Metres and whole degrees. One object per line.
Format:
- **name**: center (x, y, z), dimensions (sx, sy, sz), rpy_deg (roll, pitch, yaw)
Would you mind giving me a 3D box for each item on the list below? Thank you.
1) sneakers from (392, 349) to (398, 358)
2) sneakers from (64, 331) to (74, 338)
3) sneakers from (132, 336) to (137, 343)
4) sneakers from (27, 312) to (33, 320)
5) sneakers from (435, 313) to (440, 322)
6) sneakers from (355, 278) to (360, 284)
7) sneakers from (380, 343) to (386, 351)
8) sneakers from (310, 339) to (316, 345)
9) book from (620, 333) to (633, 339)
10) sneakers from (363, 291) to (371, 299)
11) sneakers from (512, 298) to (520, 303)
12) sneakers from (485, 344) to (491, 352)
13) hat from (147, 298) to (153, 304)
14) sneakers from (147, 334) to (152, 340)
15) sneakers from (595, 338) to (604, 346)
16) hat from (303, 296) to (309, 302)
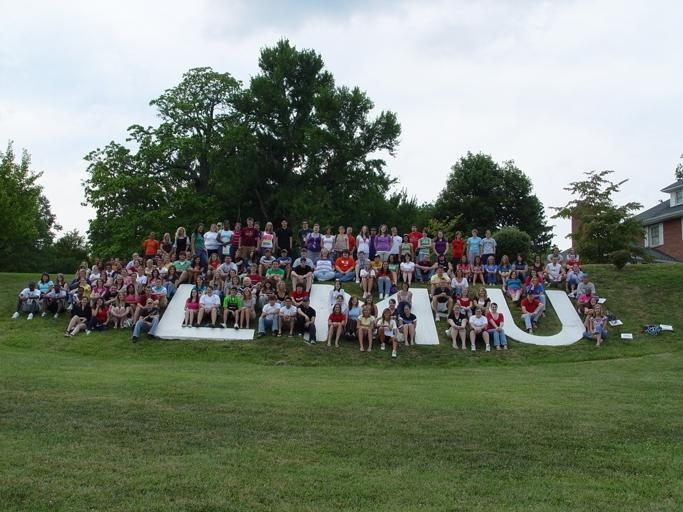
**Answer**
- **sneakers**: center (1.672, 3.037, 16.529), dimensions (0.146, 0.191, 0.431), rpy_deg (-2, -13, 6)
- **sneakers**: center (-8.790, 2.541, 17.251), dimensions (0.247, 0.173, 0.221), rpy_deg (6, 10, 30)
- **sneakers**: center (-6.566, 2.652, 16.979), dimensions (0.172, 0.163, 0.223), rpy_deg (-3, 10, -26)
- **sneakers**: center (-10.995, 2.145, 18.840), dimensions (0.226, 0.136, 0.359), rpy_deg (1, -1, -28)
- **sneakers**: center (3.452, 2.217, 19.008), dimensions (0.099, 0.221, 0.319), rpy_deg (-2, -22, 6)
- **sneakers**: center (0.684, 1.009, 21.438), dimensions (0.167, 0.285, 0.139), rpy_deg (-2, -3, 34)
- **sneakers**: center (1.343, 2.904, 16.915), dimensions (0.167, 0.136, 0.307), rpy_deg (-2, 8, 4)
- **sneakers**: center (-0.871, 2.739, 17.049), dimensions (0.251, 0.151, 0.184), rpy_deg (-2, 9, -18)
- **book**: center (9.539, 2.691, 17.719), dimensions (0.396, 0.144, 0.343), rpy_deg (4, 9, 18)
- **sneakers**: center (0.862, 1.305, 17.221), dimensions (0.144, 0.193, 0.411), rpy_deg (3, 2, 5)
- **sneakers**: center (6.642, 1.720, 20.152), dimensions (0.233, 0.122, 0.328), rpy_deg (-27, 8, -37)
- **sneakers**: center (4.687, 2.947, 16.936), dimensions (0.181, 0.250, 0.556), rpy_deg (3, 3, 13)
- **hat**: center (-6.402, 1.520, 17.915), dimensions (0.191, 0.148, 0.343), rpy_deg (-2, 9, -20)
- **sneakers**: center (-6.193, 2.629, 17.180), dimensions (0.078, 0.174, 0.243), rpy_deg (22, 9, 7)
- **sneakers**: center (8.528, 2.861, 17.585), dimensions (0.152, 0.225, 0.507), rpy_deg (-29, -18, 28)
- **hat**: center (-1.136, 1.424, 17.566), dimensions (0.147, 0.137, 0.215), rpy_deg (-6, 18, 4)
